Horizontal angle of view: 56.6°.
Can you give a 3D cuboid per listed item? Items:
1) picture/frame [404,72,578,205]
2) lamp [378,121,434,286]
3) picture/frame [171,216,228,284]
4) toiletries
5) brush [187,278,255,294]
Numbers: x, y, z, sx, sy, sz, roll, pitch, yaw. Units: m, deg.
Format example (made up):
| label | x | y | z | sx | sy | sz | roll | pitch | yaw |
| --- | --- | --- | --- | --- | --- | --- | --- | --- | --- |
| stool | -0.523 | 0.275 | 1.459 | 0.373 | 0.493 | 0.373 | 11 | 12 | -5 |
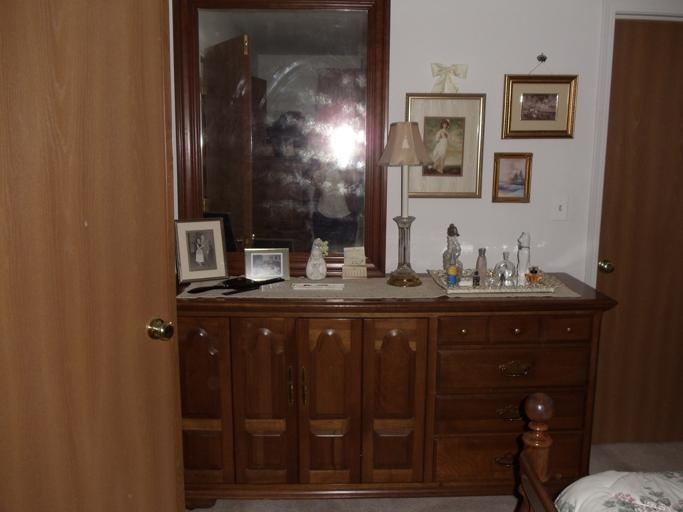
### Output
| label | x | y | z | sx | sy | sz | roll | pitch | yaw |
| --- | --- | --- | --- | --- | --- | --- | --- | --- | --- |
| picture/frame | 0.808 | -0.678 | 3.468 | 0.679 | 0.517 | 0.026 | 0 | 8 | 0 |
| lamp | 0.327 | -0.278 | 3.367 | 0.241 | 0.854 | 0.314 | -1 | 8 | 0 |
| picture/frame | -0.746 | -0.025 | 3.317 | 0.309 | 0.397 | 0.025 | -6 | 0 | -23 |
| toiletries | 0.816 | 0.046 | 3.392 | 0.454 | 0.284 | 0.173 | 0 | 6 | 1 |
| brush | -0.594 | 0.151 | 3.281 | 0.204 | 0.037 | 0.124 | -6 | 11 | -21 |
